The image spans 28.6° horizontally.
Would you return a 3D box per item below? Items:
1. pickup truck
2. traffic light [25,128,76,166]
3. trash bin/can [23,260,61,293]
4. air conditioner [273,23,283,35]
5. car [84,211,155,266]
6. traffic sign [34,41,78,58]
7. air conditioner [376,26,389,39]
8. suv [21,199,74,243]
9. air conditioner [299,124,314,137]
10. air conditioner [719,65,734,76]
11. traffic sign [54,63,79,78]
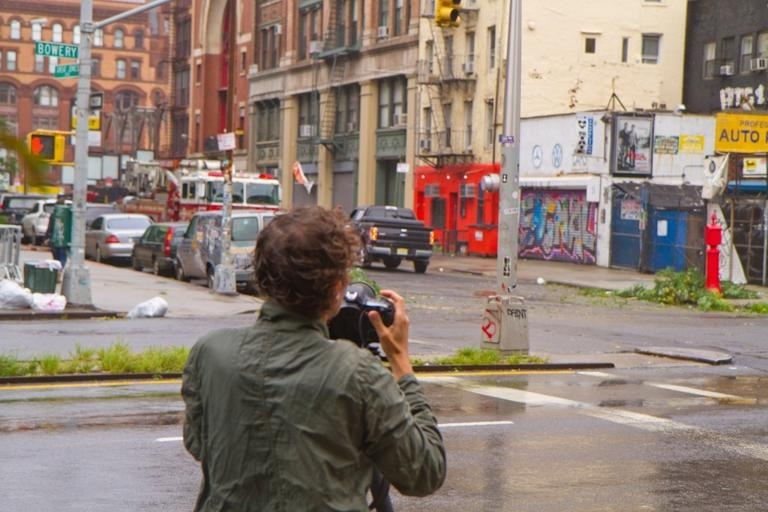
[{"bbox_3d":[0.202,-0.694,53.250,2.414,2.022,5.112,3,1,-15],"label":"pickup truck"},{"bbox_3d":[-4.770,-1.605,21.838,0.430,0.535,0.887,0,0,21],"label":"traffic light"},{"bbox_3d":[-8.907,0.487,38.930,0.753,1.146,0.867,1,2,17],"label":"trash bin/can"},{"bbox_3d":[-5.561,-12.064,79.049,0.448,0.733,0.497,2,-6,-17],"label":"air conditioner"},{"bbox_3d":[-9.099,-0.712,50.524,1.343,1.449,3.426,0,0,-34],"label":"car"},{"bbox_3d":[-4.790,-3.053,22.049,0.637,0.269,0.263,0,1,-17],"label":"traffic sign"},{"bbox_3d":[-0.042,-10.153,67.944,0.429,0.802,0.856,1,-3,-13],"label":"air conditioner"},{"bbox_3d":[-9.798,-1.050,43.889,1.326,1.515,3.287,-2,7,-20],"label":"suv"},{"bbox_3d":[-3.817,-6.341,74.570,0.735,0.621,0.800,1,1,2],"label":"air conditioner"},{"bbox_3d":[14.381,-7.845,62.857,0.383,0.453,0.584,0,2,-12],"label":"air conditioner"},{"bbox_3d":[-4.653,-2.762,22.138,0.419,0.222,0.395,0,0,-27],"label":"traffic sign"}]
